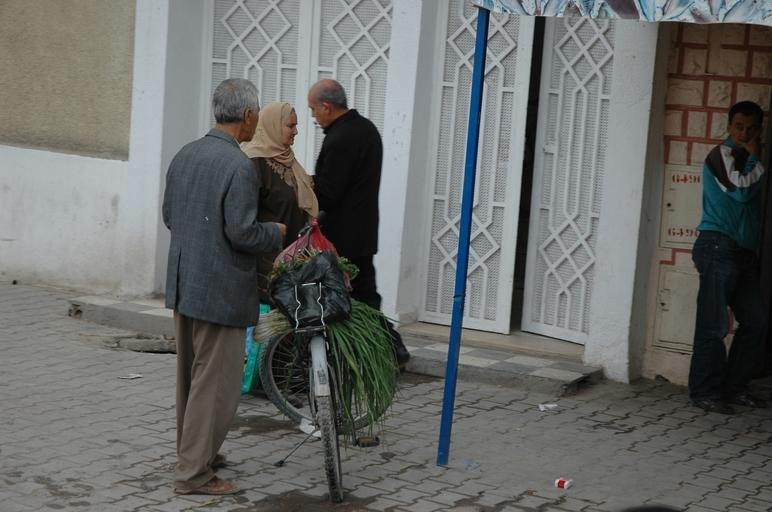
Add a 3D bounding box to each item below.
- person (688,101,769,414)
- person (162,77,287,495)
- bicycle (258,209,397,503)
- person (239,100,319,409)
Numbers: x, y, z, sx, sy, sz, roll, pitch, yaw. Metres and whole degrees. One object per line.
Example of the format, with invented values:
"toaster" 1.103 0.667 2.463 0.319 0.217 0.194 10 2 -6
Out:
"person" 3.356 0.001 9.221 0.696 2.953 0.472 4 6 -10
"person" -1.272 0.219 7.332 0.873 3.141 0.518 3 6 -12
"bicycle" -0.529 0.872 7.719 0.535 2.238 1.441 2 3 -39
"person" -1.068 -0.232 8.687 0.770 2.247 0.812 20 26 24
